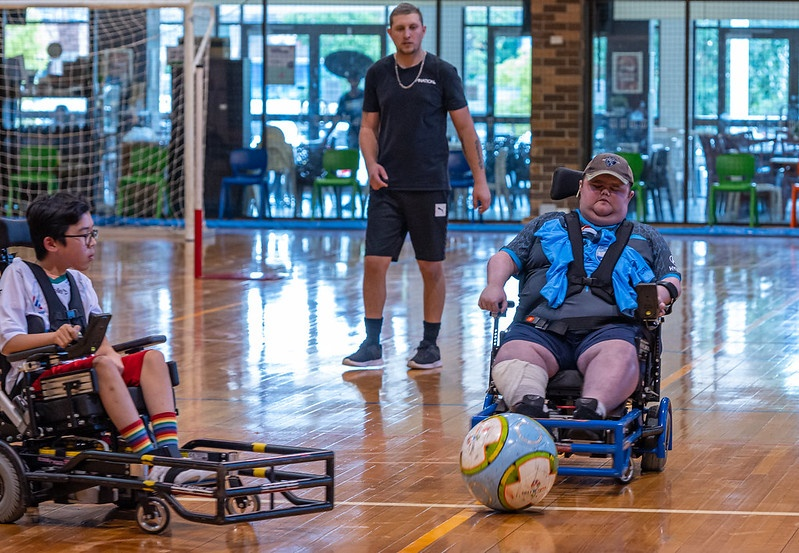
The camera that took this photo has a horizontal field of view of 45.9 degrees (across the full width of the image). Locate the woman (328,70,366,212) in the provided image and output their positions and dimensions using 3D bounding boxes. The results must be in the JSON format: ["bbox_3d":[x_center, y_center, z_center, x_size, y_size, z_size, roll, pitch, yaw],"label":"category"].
[{"bbox_3d":[-0.909,-2.758,19.261,0.995,2.881,0.892,-5,5,-32],"label":"woman"}]

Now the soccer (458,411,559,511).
[{"bbox_3d":[0.505,0.793,4.176,0.447,0.403,0.416,10,52,11],"label":"soccer"}]

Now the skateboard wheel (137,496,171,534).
[{"bbox_3d":[-1.017,0.984,3.901,0.161,0.166,0.061,-5,4,4],"label":"skateboard wheel"}]

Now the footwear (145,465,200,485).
[{"bbox_3d":[-0.921,0.810,3.869,0.225,0.080,0.071,-2,-1,3],"label":"footwear"}]

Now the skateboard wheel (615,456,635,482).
[{"bbox_3d":[1.051,0.898,4.393,0.051,0.126,0.131,-2,27,31],"label":"skateboard wheel"}]

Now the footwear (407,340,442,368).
[{"bbox_3d":[0.218,0.601,7.065,0.128,0.160,0.331,-2,-6,26],"label":"footwear"}]

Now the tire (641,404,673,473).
[{"bbox_3d":[1.291,0.795,4.717,0.140,0.324,0.288,0,7,15],"label":"tire"}]

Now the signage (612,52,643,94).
[{"bbox_3d":[4.542,-4.064,18.632,0.907,1.051,0.045,-1,2,-4],"label":"signage"}]

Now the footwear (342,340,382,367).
[{"bbox_3d":[-0.233,0.589,7.089,0.379,0.190,0.130,3,-1,-20],"label":"footwear"}]

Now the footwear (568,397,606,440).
[{"bbox_3d":[0.861,0.644,4.358,0.184,0.135,0.169,3,4,13],"label":"footwear"}]

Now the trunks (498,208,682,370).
[{"bbox_3d":[1.011,0.007,5.025,0.913,0.742,0.467,12,9,7],"label":"trunks"}]

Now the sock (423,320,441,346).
[{"bbox_3d":[0.268,0.439,7.159,0.168,0.210,0.163,0,-2,9],"label":"sock"}]

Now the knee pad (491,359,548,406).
[{"bbox_3d":[0.575,0.510,4.504,0.238,0.177,0.208,-4,-2,39],"label":"knee pad"}]
